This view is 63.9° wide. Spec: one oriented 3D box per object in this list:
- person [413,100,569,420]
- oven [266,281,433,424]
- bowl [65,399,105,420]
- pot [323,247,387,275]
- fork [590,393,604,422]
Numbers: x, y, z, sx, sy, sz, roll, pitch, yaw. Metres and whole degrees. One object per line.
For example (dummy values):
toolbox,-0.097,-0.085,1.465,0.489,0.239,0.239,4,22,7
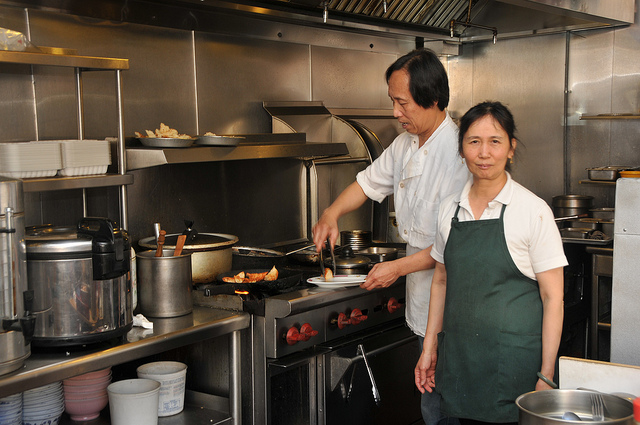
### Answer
person,0.644,0.253,2.079,0.249,1.360,0.587,-7,4,-41
oven,0.116,0.687,2.537,0.470,0.829,0.887,-2,0,39
bowl,-1.032,0.844,2.230,0.108,0.065,0.105,-4,2,0
pot,0.199,0.251,2.827,0.374,0.116,0.261,-1,9,-12
fork,0.736,0.516,1.365,0.032,0.063,0.027,-2,4,27
